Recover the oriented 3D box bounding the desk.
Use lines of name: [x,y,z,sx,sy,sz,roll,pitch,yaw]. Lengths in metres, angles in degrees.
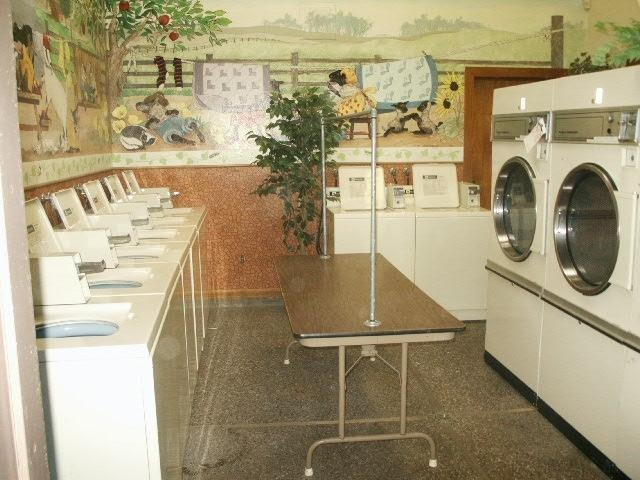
desk: [0.220,0.637,3.093,0.918,1.358,1.507,-2,12,-8]
